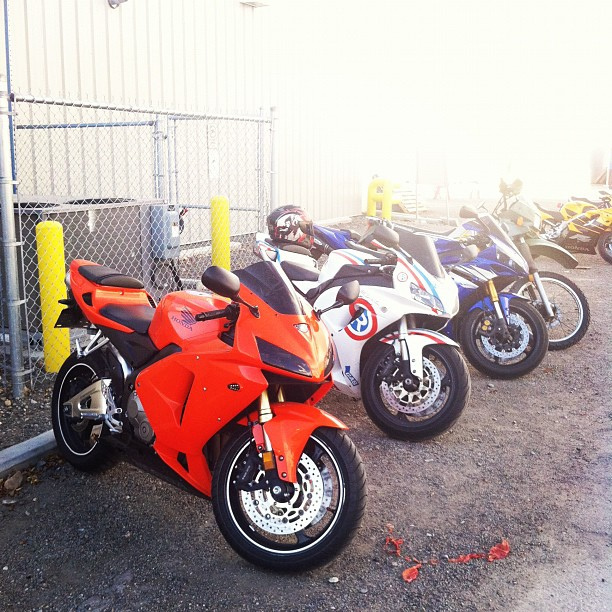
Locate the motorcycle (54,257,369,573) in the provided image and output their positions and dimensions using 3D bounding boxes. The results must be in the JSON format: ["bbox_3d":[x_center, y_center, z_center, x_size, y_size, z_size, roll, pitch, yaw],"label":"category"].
[{"bbox_3d":[-0.651,0.392,2.469,2.074,1.323,0.616,8,1,33],"label":"motorcycle"}]

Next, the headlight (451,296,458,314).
[{"bbox_3d":[1.042,0.005,3.350,0.035,0.096,0.083,-4,2,6],"label":"headlight"}]

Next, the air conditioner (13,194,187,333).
[{"bbox_3d":[-2.438,-0.527,5.586,1.606,1.098,0.901,-3,3,-5],"label":"air conditioner"}]

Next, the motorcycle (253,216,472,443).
[{"bbox_3d":[0.226,-0.020,3.820,2.276,1.466,0.776,20,14,42],"label":"motorcycle"}]

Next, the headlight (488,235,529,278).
[{"bbox_3d":[1.868,-0.453,4.414,0.360,0.380,0.146,3,8,16],"label":"headlight"}]

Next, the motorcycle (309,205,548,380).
[{"bbox_3d":[1.152,-0.156,4.955,2.555,1.466,0.941,6,-1,32],"label":"motorcycle"}]
